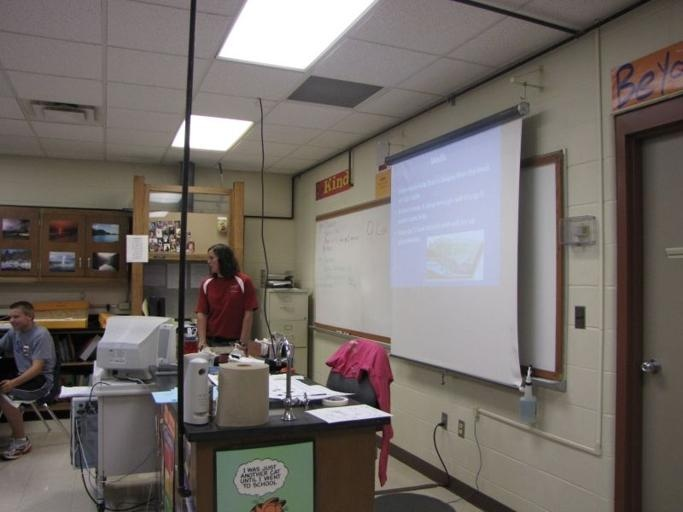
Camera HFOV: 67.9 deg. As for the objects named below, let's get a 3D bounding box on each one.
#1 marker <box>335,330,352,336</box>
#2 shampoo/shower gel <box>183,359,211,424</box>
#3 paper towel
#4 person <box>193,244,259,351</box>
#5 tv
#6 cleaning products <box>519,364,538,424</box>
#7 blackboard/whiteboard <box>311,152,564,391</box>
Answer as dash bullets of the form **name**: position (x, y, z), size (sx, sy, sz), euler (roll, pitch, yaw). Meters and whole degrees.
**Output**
- **marker**: position (0.032, 0.862, 5.744), size (0.046, 0.051, 0.205), euler (13, -4, -34)
- **shampoo/shower gel**: position (-0.724, 0.673, 2.532), size (0.137, 0.319, 0.082), euler (0, 0, -1)
- **paper towel**: position (-0.482, 0.668, 2.594), size (0.289, 0.304, 0.261), euler (0, -3, 32)
- **person**: position (-1.166, 0.397, 5.208), size (0.598, 1.026, 0.375), euler (0, 0, -17)
- **tv**: position (-1.480, 0.640, 3.878), size (0.501, 0.535, 0.483), euler (0, -6, 9)
- **cleaning products**: position (1.286, 0.973, 3.497), size (0.109, 0.425, 0.171), euler (0, 0, 22)
- **blackboard/whiteboard**: position (0.813, 0.118, 4.155), size (0.081, 1.330, 2.510), euler (2, -2, -32)
